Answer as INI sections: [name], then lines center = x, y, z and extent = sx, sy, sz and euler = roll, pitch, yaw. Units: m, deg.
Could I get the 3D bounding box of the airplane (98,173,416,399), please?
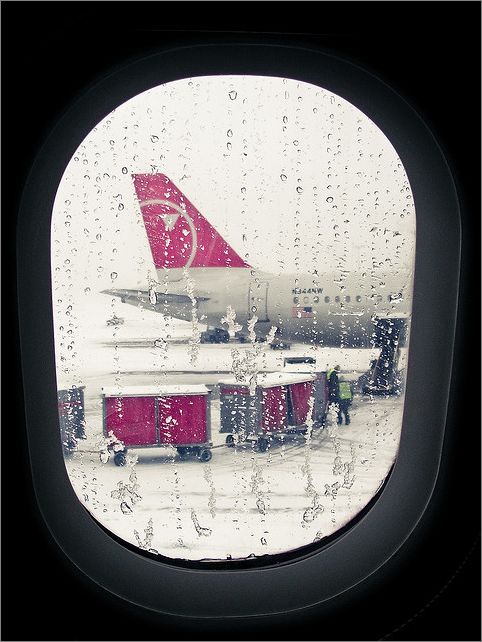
[airplane]
center = -0.140, -0.312, 14.917
extent = 2.805, 2.885, 1.676
euler = -1, 98, 10
